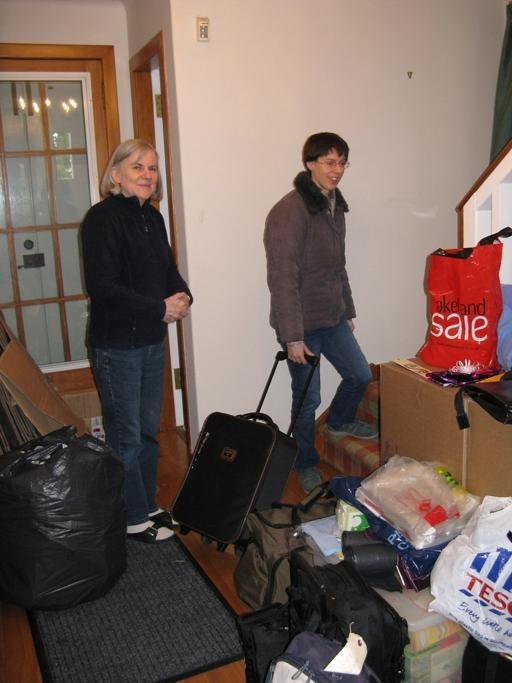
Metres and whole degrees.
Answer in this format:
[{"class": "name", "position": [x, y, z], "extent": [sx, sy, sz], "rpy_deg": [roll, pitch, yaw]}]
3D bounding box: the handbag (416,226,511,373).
[{"class": "handbag", "position": [0.594, -0.098, 1.621], "extent": [0.240, 0.374, 0.128], "rpy_deg": [2, 16, 26]}]

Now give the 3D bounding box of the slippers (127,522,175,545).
[{"class": "slippers", "position": [-0.413, 0.764, 2.226], "extent": [0.193, 0.066, 0.075], "rpy_deg": [-1, 22, -3]}]

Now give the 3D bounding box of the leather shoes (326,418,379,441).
[{"class": "leather shoes", "position": [0.462, 0.429, 2.647], "extent": [0.192, 0.055, 0.080], "rpy_deg": [-5, 8, 31]}]

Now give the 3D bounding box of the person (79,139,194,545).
[{"class": "person", "position": [-0.403, 0.039, 2.086], "extent": [0.416, 1.529, 0.365], "rpy_deg": [-12, 16, -26]}]
